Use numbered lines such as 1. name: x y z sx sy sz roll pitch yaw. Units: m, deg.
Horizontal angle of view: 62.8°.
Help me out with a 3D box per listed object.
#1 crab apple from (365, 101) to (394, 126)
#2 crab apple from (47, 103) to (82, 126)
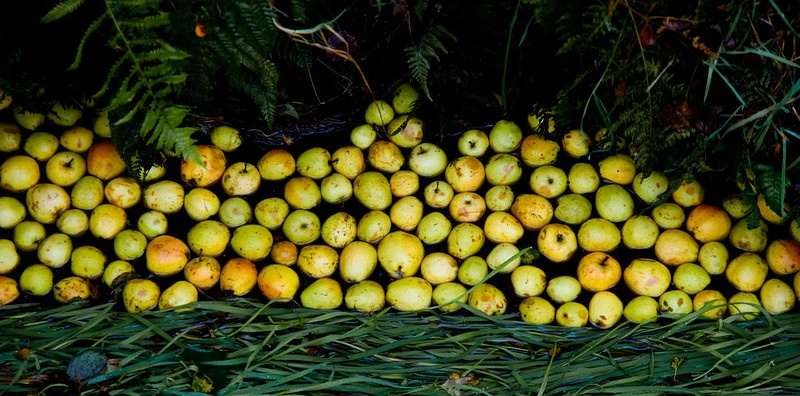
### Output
1. crab apple: -0.110 -0.451 3.434 0.154 0.093 0.118 -5 76 0
2. crab apple: -1.738 -0.429 3.398 0.147 0.101 0.091 4 96 10
